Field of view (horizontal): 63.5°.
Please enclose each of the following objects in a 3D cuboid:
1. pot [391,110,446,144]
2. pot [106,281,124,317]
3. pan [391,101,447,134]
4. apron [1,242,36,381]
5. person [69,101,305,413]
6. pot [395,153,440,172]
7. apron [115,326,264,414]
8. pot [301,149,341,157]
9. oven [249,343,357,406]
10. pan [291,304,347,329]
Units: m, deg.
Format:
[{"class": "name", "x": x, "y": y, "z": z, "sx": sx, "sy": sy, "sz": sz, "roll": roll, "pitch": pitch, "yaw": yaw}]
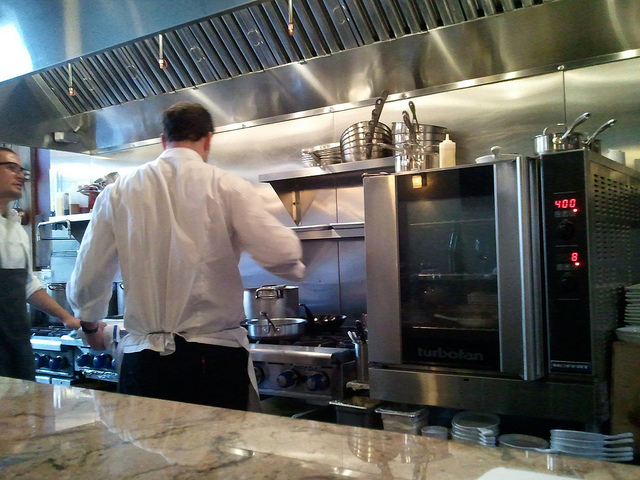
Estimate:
[{"class": "pot", "x": 0.466, "y": -0.510, "z": 2.409, "sx": 0.261, "sy": 0.138, "sz": 0.203, "roll": 3, "pitch": 4, "yaw": 29}, {"class": "pot", "x": -1.437, "y": 0.417, "z": 3.621, "sx": 0.122, "sy": 0.251, "sz": 0.265, "roll": -8, "pitch": 7, "yaw": -22}, {"class": "pan", "x": 0.468, "y": -0.543, "z": 2.417, "sx": 0.312, "sy": 0.141, "sz": 0.186, "roll": 3, "pitch": 2, "yaw": -22}, {"class": "apron", "x": -1.425, "y": 0.399, "z": 2.436, "sx": 0.080, "sy": 0.550, "sz": 0.194, "roll": -5, "pitch": 7, "yaw": 7}, {"class": "person", "x": -0.540, "y": 0.071, "z": 1.986, "sx": 0.935, "sy": 1.200, "sz": 0.394, "roll": -5, "pitch": 7, "yaw": -3}, {"class": "pot", "x": 0.418, "y": -0.345, "z": 2.294, "sx": 0.176, "sy": 0.044, "sz": 0.155, "roll": -1, "pitch": -2, "yaw": 30}, {"class": "apron", "x": -0.523, "y": 0.510, "z": 2.094, "sx": 0.821, "sy": 0.318, "sz": 0.429, "roll": -2, "pitch": -4, "yaw": 19}, {"class": "pot", "x": -0.009, "y": -0.488, "z": 2.892, "sx": 0.274, "sy": 0.025, "sz": 0.056, "roll": 2, "pitch": 6, "yaw": 37}, {"class": "oven", "x": -0.046, "y": 0.583, "z": 2.379, "sx": 0.662, "sy": 0.177, "sz": 0.407, "roll": -2, "pitch": -4, "yaw": 28}, {"class": "pan", "x": 0.002, "y": 0.411, "z": 2.769, "sx": 0.278, "sy": 0.068, "sz": 0.136, "roll": 8, "pitch": -11, "yaw": -18}]
